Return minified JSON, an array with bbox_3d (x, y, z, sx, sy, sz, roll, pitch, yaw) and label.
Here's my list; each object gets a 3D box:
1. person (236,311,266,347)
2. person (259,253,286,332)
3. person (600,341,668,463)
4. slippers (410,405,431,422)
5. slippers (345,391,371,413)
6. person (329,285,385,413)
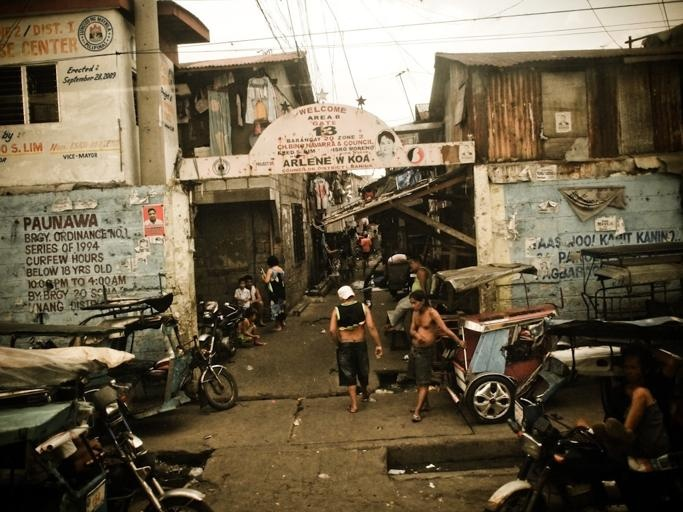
[{"bbox_3d":[-2.081,1.646,15.957,0.722,0.896,0.619,1,1,-14],"label":"person"},{"bbox_3d":[-1.596,0.866,17.154,0.539,1.747,0.968,-5,4,-6],"label":"person"},{"bbox_3d":[3.605,1.887,9.187,1.028,1.441,1.013,3,-5,-32],"label":"person"},{"bbox_3d":[1.270,2.538,11.510,0.145,0.189,0.477,-4,-14,16],"label":"slippers"},{"bbox_3d":[0.280,2.467,12.053,0.229,0.435,0.515,5,-1,14],"label":"slippers"},{"bbox_3d":[0.266,1.535,12.072,0.800,2.048,0.741,-5,4,1],"label":"person"}]
